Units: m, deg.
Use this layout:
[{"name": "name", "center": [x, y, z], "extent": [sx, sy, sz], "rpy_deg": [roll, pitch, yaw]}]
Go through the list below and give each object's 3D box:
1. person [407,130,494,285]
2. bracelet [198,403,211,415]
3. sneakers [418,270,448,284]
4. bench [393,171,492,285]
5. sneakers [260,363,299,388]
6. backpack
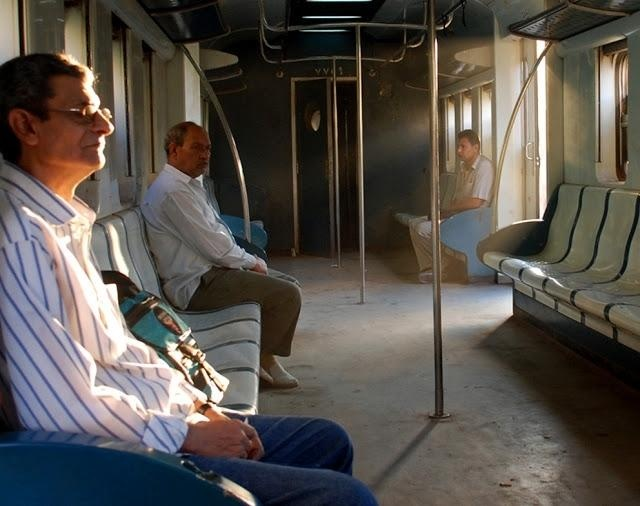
[{"name": "person", "center": [1.549, -0.542, 6.621], "extent": [0.983, 1.643, 0.762], "rpy_deg": [-2, 0, 0]}, {"name": "bracelet", "center": [-0.318, 0.424, 1.558], "extent": [0.031, 0.032, 0.032], "rpy_deg": [-17, 13, -30]}, {"name": "sneakers", "center": [1.026, 0.223, 5.176], "extent": [0.207, 0.079, 0.200], "rpy_deg": [-2, 2, 12]}, {"name": "bench", "center": [1.394, -0.259, 6.469], "extent": [0.575, 0.777, 1.619], "rpy_deg": [-2, 6, 1]}, {"name": "sneakers", "center": [-0.239, 0.710, 3.307], "extent": [0.223, 0.085, 0.111], "rpy_deg": [0, 1, 21]}, {"name": "backpack", "center": [-0.474, 0.262, 1.799], "extent": [0.161, 0.500, 0.290], "rpy_deg": [-39, 5, 19]}]
